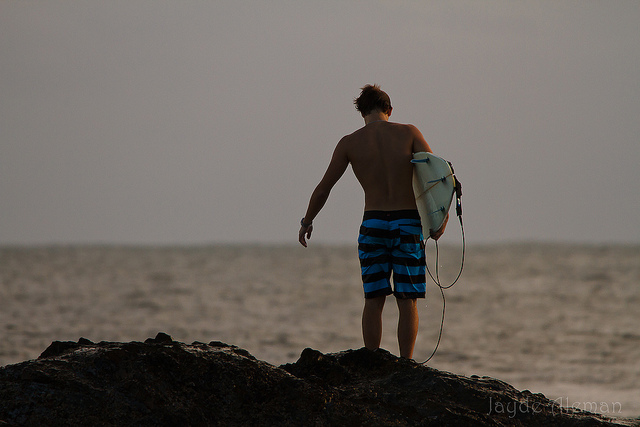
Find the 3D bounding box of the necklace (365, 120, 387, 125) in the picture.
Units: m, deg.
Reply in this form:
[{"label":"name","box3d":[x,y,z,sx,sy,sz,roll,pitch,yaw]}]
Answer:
[{"label":"necklace","box3d":[1.037,-1.748,25.322,0.472,0.053,0.056,2,-54,-8]}]

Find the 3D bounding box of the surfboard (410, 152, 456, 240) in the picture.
[{"label":"surfboard","box3d":[2.052,-0.464,25.167,1.063,1.324,0.301,5,6,40]}]
